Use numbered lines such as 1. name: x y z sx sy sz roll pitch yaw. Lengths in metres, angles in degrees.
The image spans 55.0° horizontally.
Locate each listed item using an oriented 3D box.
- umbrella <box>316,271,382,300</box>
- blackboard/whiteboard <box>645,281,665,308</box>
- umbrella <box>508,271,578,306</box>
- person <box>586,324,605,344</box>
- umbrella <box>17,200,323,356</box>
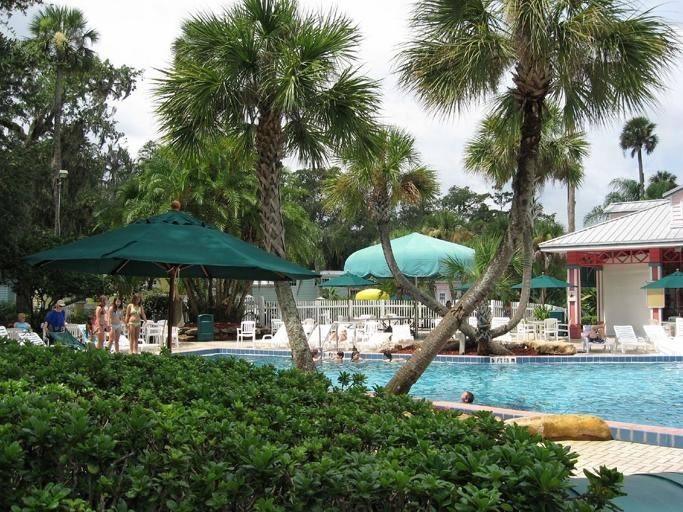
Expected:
1. umbrella: 0.315 1.319 30.803 1.946 1.079 2.173 -1 3 21
2. blackboard/whiteboard: 10.819 1.275 22.519 0.828 1.053 0.936 0 -4 30
3. umbrella: 8.566 1.383 27.683 2.129 1.252 2.146 1 -4 -20
4. person: 7.979 2.399 20.498 0.325 0.485 1.054 0 0 18
5. umbrella: -2.334 0.280 8.789 2.798 1.981 3.490 -4 7 -42
